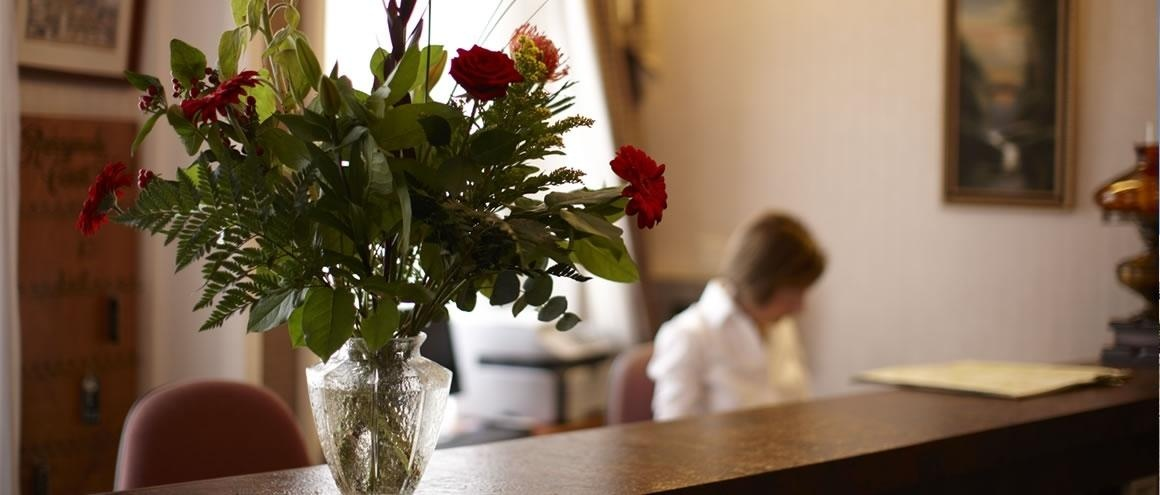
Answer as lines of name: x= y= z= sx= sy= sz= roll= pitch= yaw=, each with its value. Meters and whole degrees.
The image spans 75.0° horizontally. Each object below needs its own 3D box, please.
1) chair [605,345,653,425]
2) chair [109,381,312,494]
chair: x=0.219 y=0.589 z=3.308 sx=0.279 sy=0.291 sz=0.312 roll=2 pitch=-4 yaw=-16
chair: x=-1.308 y=0.617 z=2.809 sx=0.570 sy=0.561 sz=0.498 roll=2 pitch=5 yaw=-25
